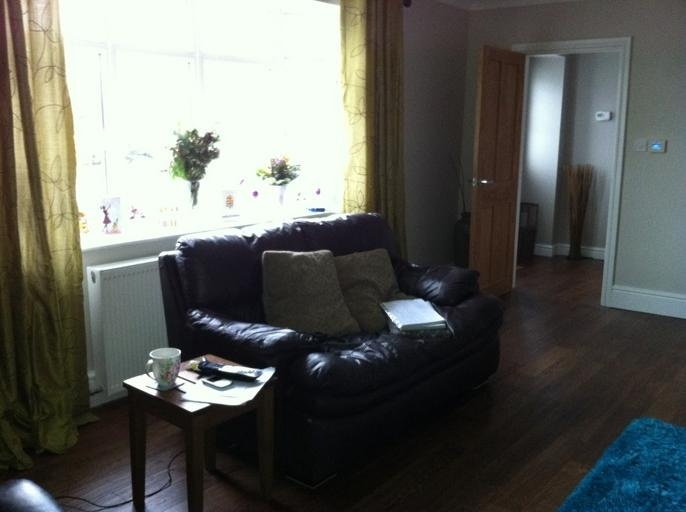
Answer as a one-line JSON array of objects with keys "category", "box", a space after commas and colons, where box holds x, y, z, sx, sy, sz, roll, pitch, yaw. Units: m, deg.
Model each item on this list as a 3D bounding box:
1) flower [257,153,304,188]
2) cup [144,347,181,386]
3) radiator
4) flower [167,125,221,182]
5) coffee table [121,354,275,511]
[{"category": "flower", "box": [-0.499, -0.650, 4.186, 0.319, 0.218, 0.210, -5, 13, -2]}, {"category": "cup", "box": [-0.784, 0.485, 2.335, 0.120, 0.130, 0.178, 11, 11, 35]}, {"category": "radiator", "box": [-1.146, 0.456, 3.299, 0.597, 0.750, 0.107, 1, 11, -5]}, {"category": "flower", "box": [-0.995, -0.669, 3.660, 0.332, 0.340, 0.141, -6, 13, -9]}, {"category": "coffee table", "box": [-0.591, 0.685, 2.557, 0.647, 0.677, 0.658, 4, 5, 40]}]
